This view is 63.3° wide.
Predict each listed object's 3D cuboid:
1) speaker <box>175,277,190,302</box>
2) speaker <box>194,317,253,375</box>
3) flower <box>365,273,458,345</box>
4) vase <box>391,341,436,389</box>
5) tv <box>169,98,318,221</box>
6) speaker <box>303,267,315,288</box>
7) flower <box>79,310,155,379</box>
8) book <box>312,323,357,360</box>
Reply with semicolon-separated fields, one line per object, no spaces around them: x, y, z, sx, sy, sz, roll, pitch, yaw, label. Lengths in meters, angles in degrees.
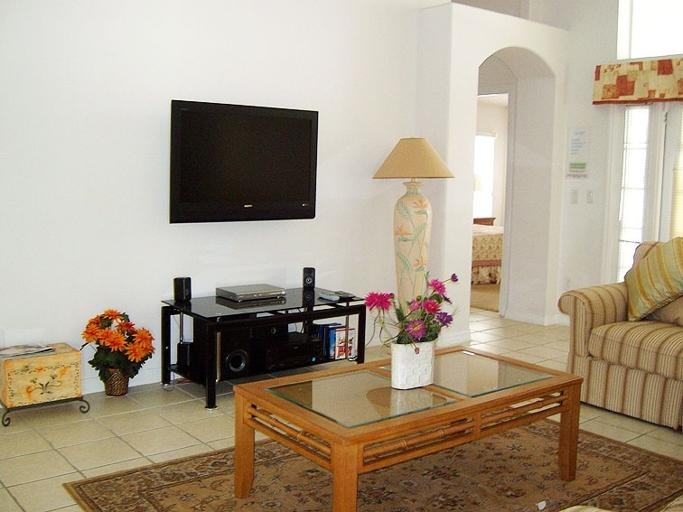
-1.222;0.242;4.213;0.128;0.183;0.180;-2;10;-16;speaker
-0.887;0.654;4.226;0.328;0.498;0.530;-5;8;-39;speaker
0.502;0.367;4.020;0.753;0.442;0.688;-8;5;-4;flower
0.354;0.553;2.825;0.280;0.189;0.155;-2;5;-29;vase
-0.831;-0.771;4.372;1.266;0.776;0.091;-1;8;-30;tv
-0.292;0.181;4.812;0.091;0.176;0.145;1;9;2;speaker
-1.580;0.630;3.926;0.436;0.490;0.226;0;10;-5;flower
-0.078;0.691;4.467;0.361;0.290;0.192;-3;4;-34;book
